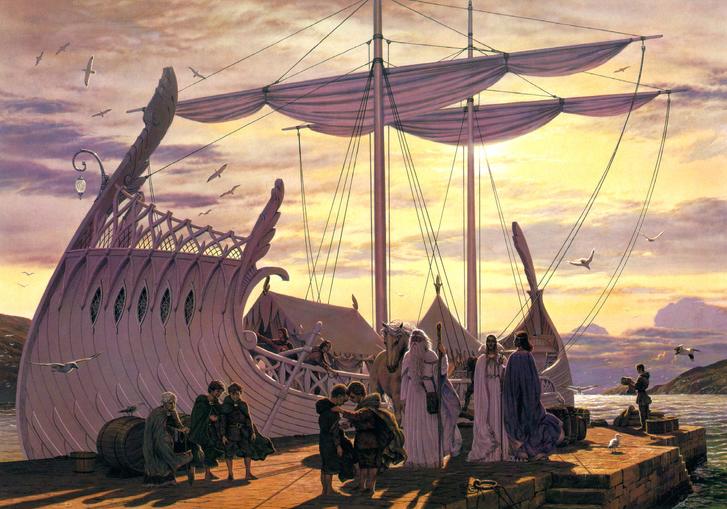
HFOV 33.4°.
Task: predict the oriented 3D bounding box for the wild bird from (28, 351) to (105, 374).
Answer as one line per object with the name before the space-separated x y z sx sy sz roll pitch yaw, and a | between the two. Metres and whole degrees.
wild bird | -7.977 2.927 32.970 1.392 0.560 2.306 2 -7 -13

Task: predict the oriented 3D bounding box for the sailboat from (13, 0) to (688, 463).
sailboat | -0.030 -0.683 38.200 18.888 15.006 15.104 11 -2 -42

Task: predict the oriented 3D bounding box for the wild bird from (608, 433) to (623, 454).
wild bird | 6.603 4.928 31.713 0.342 0.459 1.219 -1 -7 11
